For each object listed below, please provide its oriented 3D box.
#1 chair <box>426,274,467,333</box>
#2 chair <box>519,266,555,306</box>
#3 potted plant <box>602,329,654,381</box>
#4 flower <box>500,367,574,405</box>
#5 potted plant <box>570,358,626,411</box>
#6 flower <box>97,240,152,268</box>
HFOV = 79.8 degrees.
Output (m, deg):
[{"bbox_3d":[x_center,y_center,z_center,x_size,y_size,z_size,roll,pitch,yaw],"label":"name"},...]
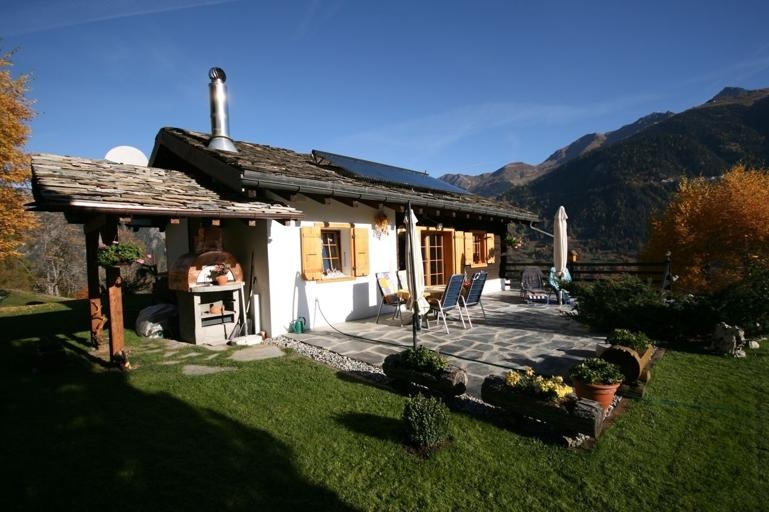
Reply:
[{"bbox_3d":[1.638,1.251,12.797,0.854,1.465,1.090,-3,2,-36],"label":"chair"},{"bbox_3d":[5.340,0.995,16.278,0.878,1.032,1.480,-2,6,6],"label":"chair"},{"bbox_3d":[5.161,2.008,10.173,1.010,0.502,0.756,-17,5,35],"label":"potted plant"},{"bbox_3d":[3.006,2.530,9.010,0.687,0.405,0.878,3,1,5],"label":"flower"},{"bbox_3d":[4.366,2.462,9.474,0.968,0.983,1.000,-1,1,23],"label":"potted plant"},{"bbox_3d":[-6.262,-0.044,10.922,0.956,0.618,0.587,-10,16,-34],"label":"flower"}]
